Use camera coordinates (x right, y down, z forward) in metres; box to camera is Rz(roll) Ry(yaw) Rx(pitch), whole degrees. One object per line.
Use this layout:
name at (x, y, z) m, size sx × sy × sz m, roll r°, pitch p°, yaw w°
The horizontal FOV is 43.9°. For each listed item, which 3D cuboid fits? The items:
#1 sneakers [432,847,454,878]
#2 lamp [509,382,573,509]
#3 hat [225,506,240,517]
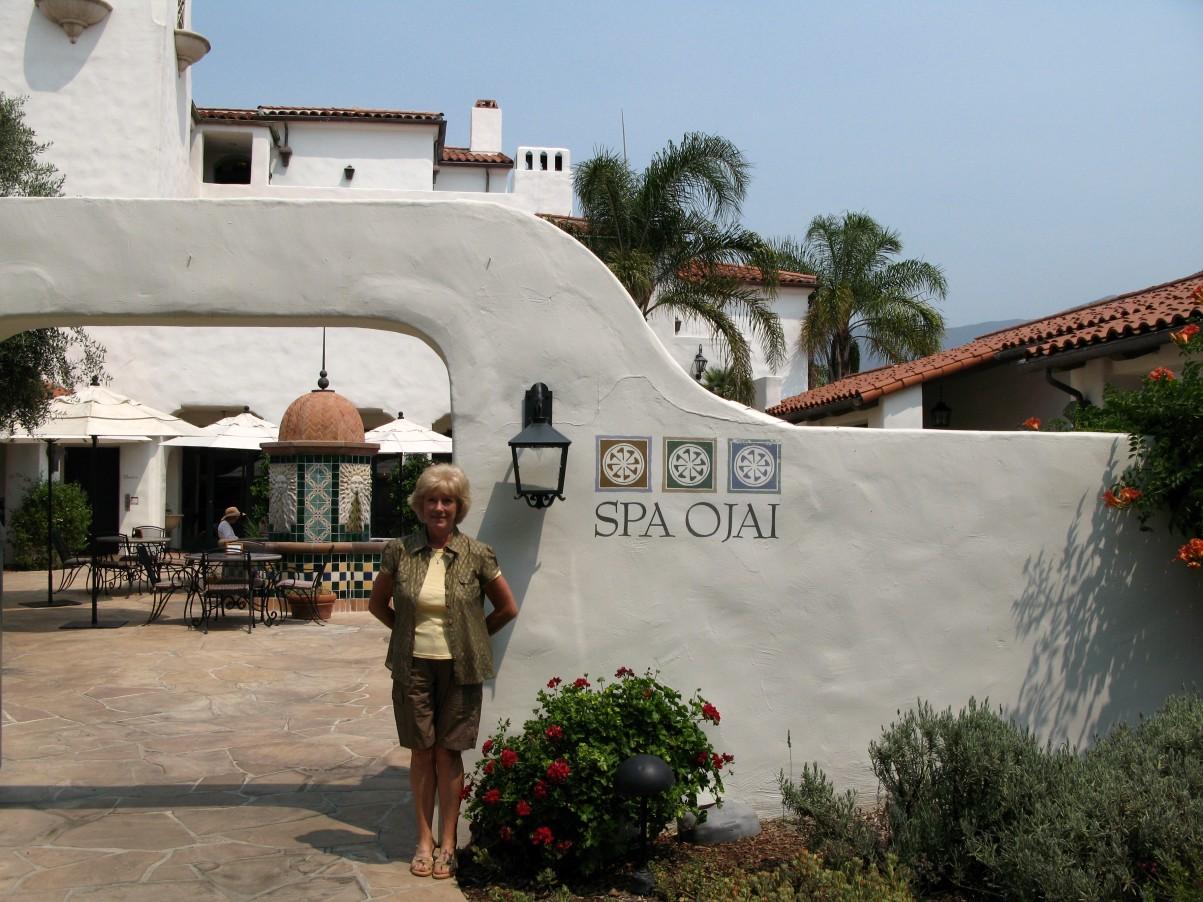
sneakers at (-1.190, 3.129, 11.373) m, size 0.165 × 0.194 × 0.164 m, roll -2°, pitch 9°, yaw 3°
lamp at (-0.478, -0.027, 11.852) m, size 0.465 × 0.998 × 0.379 m, roll -3°, pitch 9°, yaw -4°
hat at (-5.485, 0.909, 22.351) m, size 0.187 × 0.198 × 0.230 m, roll 2°, pitch 13°, yaw 1°
